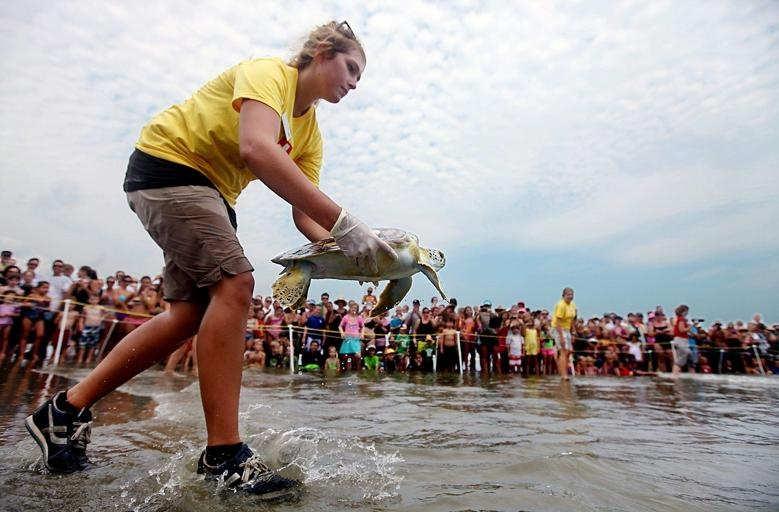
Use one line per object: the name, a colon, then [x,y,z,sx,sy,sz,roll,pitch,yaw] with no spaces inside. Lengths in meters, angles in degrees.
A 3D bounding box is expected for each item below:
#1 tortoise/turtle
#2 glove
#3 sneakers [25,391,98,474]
tortoise/turtle: [-0.210,0.093,2.334,0.880,0.323,0.659,3,-14,-4]
glove: [-0.164,-0.076,2.085,0.310,0.392,0.267,-6,6,-27]
sneakers: [-1.715,0.926,1.962,0.307,0.381,0.197,8,-19,-29]
